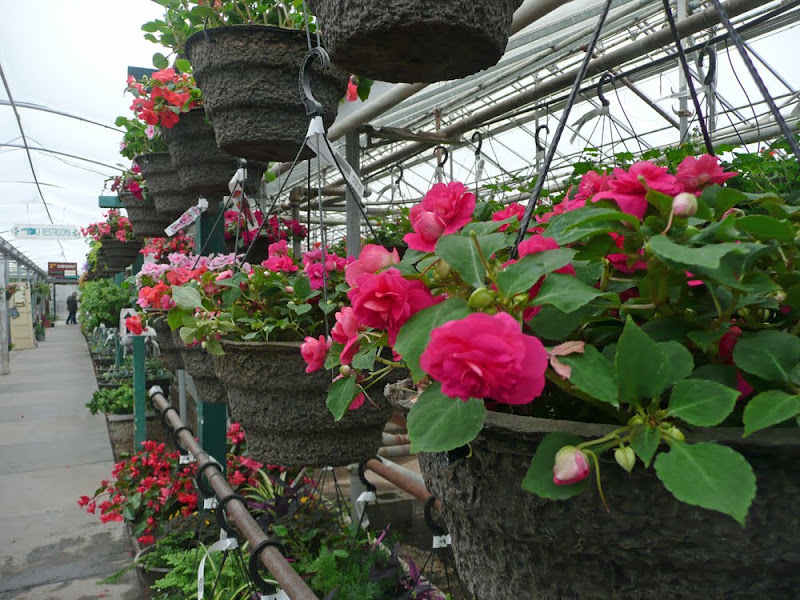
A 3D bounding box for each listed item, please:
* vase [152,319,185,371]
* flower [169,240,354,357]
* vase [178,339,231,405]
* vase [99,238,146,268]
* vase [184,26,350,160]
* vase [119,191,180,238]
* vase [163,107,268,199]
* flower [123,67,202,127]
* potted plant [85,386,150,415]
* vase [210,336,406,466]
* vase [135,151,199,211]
[{"bbox_3d":[-1.017,0.180,2.711,0.102,0.283,0.084,-2,22,11],"label":"vase"},{"bbox_3d":[-0.364,-0.015,1.507,0.359,0.189,0.320,3,-3,-12],"label":"flower"},{"bbox_3d":[-0.558,0.192,1.801,0.220,0.153,0.205,0,-2,-17],"label":"vase"},{"bbox_3d":[-2.417,-0.420,5.383,0.339,0.204,0.327,-1,1,-10],"label":"vase"},{"bbox_3d":[-0.302,-0.487,1.440,0.312,0.171,0.305,-2,4,-42],"label":"vase"},{"bbox_3d":[-1.311,-0.432,3.259,0.351,0.200,0.284,0,-14,-7],"label":"vase"},{"bbox_3d":[-0.626,-0.449,2.043,0.295,0.194,0.285,-1,-6,-4],"label":"vase"},{"bbox_3d":[-0.753,-0.672,2.023,0.237,0.135,0.194,-6,5,-31],"label":"flower"},{"bbox_3d":[-2.241,0.794,4.890,0.251,0.261,0.601,-1,3,-40],"label":"potted plant"},{"bbox_3d":[-0.204,0.219,1.283,0.307,0.171,0.307,-4,-7,16],"label":"vase"},{"bbox_3d":[-0.893,-0.450,2.487,0.258,0.179,0.251,-1,4,10],"label":"vase"}]
